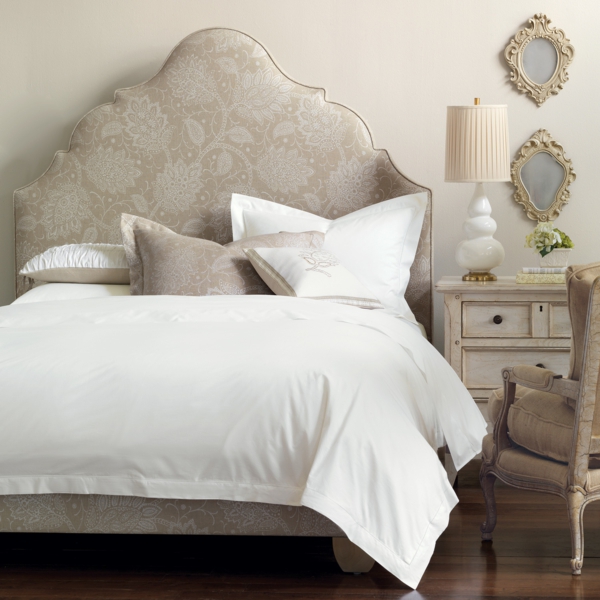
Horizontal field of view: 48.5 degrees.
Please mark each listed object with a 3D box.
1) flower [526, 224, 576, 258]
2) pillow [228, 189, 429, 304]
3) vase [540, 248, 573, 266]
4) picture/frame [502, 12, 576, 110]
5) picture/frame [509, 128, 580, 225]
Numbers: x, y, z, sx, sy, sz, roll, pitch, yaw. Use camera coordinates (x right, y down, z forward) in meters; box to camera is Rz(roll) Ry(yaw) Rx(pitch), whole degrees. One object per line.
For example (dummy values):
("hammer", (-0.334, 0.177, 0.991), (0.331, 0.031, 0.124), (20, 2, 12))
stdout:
("flower", (1.147, -0.264, 3.079), (0.180, 0.145, 0.172), (-5, -1, -14))
("pillow", (0.153, -0.232, 3.005), (0.601, 0.404, 0.107), (8, -22, 14))
("vase", (1.154, -0.191, 2.991), (0.085, 0.057, 0.103), (-2, 7, 7))
("picture/frame", (1.191, -1.206, 3.347), (0.356, 0.446, 0.043), (-1, 3, 2))
("picture/frame", (1.241, -0.631, 3.399), (0.310, 0.463, 0.069), (-1, 3, -2))
